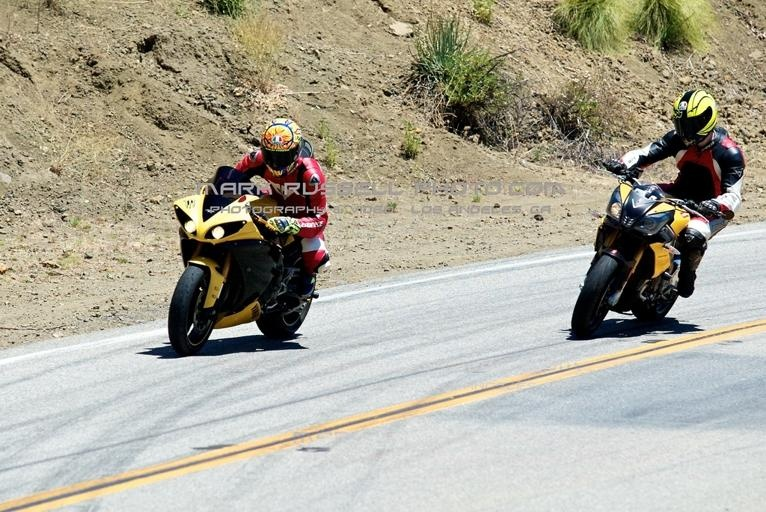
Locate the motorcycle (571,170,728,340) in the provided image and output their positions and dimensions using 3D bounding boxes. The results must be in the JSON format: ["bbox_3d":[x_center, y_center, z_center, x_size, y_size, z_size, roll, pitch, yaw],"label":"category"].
[{"bbox_3d":[2.937,0.045,9.961,1.619,1.866,0.715,-4,20,-32],"label":"motorcycle"}]

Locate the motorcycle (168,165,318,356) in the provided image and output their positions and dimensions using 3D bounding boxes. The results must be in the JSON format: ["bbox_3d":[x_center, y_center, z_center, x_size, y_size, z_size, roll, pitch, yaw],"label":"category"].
[{"bbox_3d":[-1.721,0.076,9.607,0.569,2.102,1.794,22,22,39],"label":"motorcycle"}]

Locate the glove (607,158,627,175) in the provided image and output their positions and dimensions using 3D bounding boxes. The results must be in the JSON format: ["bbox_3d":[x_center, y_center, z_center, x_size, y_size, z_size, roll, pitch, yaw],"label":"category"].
[{"bbox_3d":[2.831,-1.091,10.139,0.248,0.082,0.199,6,22,-42],"label":"glove"}]
